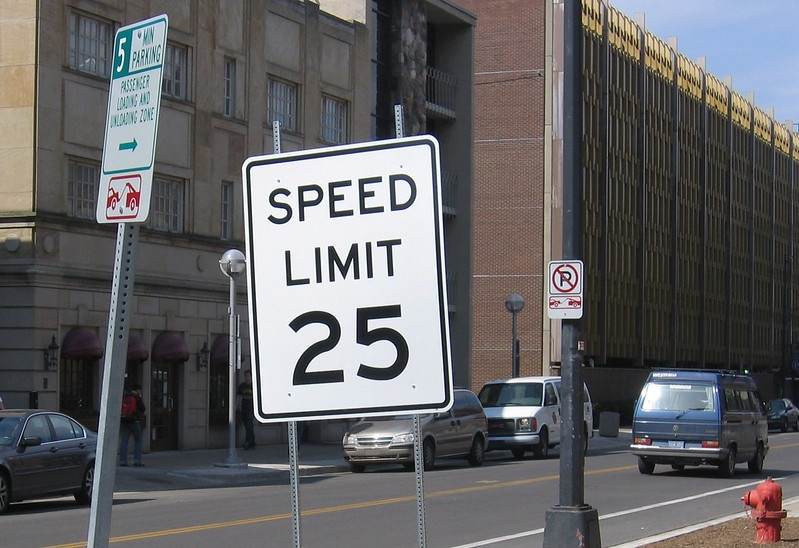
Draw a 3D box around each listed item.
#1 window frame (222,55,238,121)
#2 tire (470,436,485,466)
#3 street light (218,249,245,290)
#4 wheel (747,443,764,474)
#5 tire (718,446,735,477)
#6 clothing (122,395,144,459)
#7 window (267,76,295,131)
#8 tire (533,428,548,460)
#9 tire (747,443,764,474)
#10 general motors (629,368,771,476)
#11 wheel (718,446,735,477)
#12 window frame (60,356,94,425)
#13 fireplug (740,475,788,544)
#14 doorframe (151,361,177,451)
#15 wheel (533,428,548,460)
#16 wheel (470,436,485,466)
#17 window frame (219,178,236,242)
[{"bbox_3d":[-5.892,-6.429,38.575,0.469,1.971,0.457,1,-10,-11],"label":"window frame"},{"bbox_3d":[2.311,5.319,33.706,0.241,0.846,0.747,-4,-10,25],"label":"tire"},{"bbox_3d":[-4.702,-0.222,31.468,0.612,1.128,1.076,0,-11,-4],"label":"street light"},{"bbox_3d":[9.975,5.169,31.414,0.262,0.956,0.838,0,-1,23],"label":"wheel"},{"bbox_3d":[8.823,5.102,30.182,0.418,0.802,0.948,-6,-13,28],"label":"tire"},{"bbox_3d":[-7.630,4.350,31.752,0.615,2.170,1.243,2,-11,-14],"label":"clothing"},{"bbox_3d":[-4.274,-6.061,40.369,1.017,2.000,1.196,0,-10,-1],"label":"window"},{"bbox_3d":[4.438,5.365,35.516,0.278,0.990,0.882,-2,-7,15],"label":"tire"},{"bbox_3d":[9.975,5.169,31.414,0.262,0.956,0.838,0,-1,23],"label":"tire"},{"bbox_3d":[8.312,4.025,30.564,3.992,3.053,2.001,5,-12,-27],"label":"general motors"},{"bbox_3d":[8.823,5.102,30.182,0.418,0.802,0.948,-6,-13,28],"label":"wheel"},{"bbox_3d":[-9.545,3.424,32.798,0.121,2.574,1.685,-4,-6,31],"label":"window frame"},{"bbox_3d":[6.798,4.316,20.516,0.900,1.452,0.900,-3,-8,33],"label":"fireplug"},{"bbox_3d":[-7.586,4.266,36.011,0.282,2.838,1.267,-7,-12,33],"label":"doorframe"},{"bbox_3d":[4.438,5.365,35.516,0.278,0.990,0.882,-2,-7,15],"label":"wheel"},{"bbox_3d":[2.311,5.319,33.706,0.241,0.846,0.747,-4,-10,25],"label":"wheel"},{"bbox_3d":[-5.956,-2.168,38.373,0.548,1.994,0.319,7,-12,-38],"label":"window frame"}]
